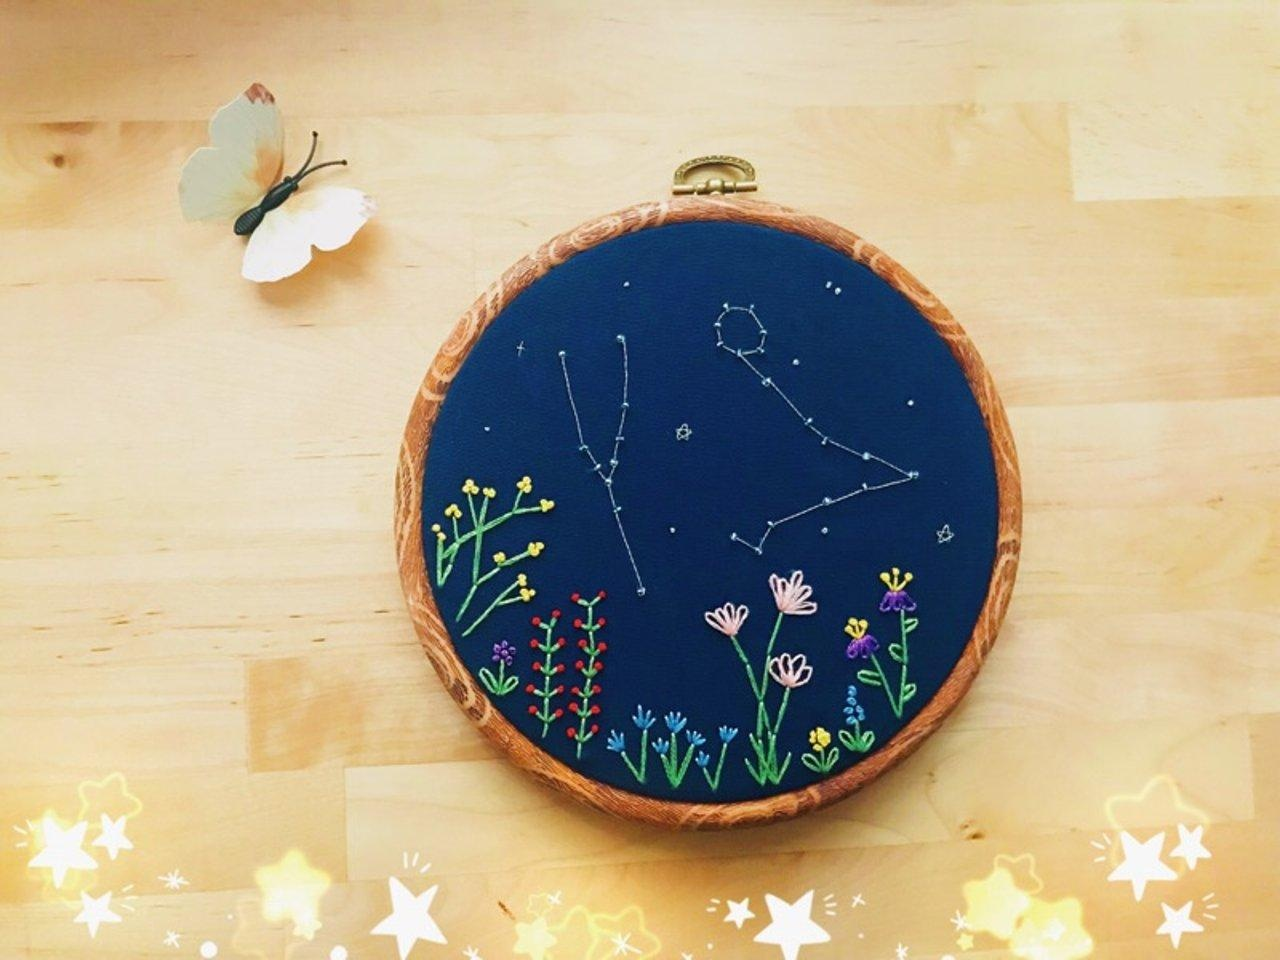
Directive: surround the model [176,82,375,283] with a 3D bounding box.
[{"bbox_3d":[-0.576,-0.448,3.099,0.106,0.315,0.266,31,69,31],"label":"model"}]
